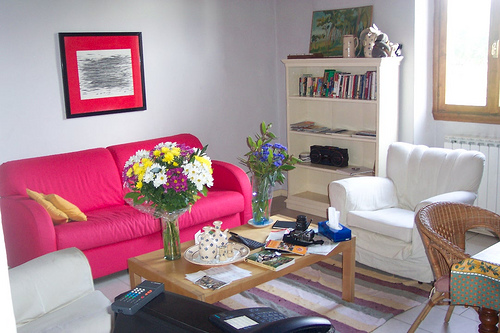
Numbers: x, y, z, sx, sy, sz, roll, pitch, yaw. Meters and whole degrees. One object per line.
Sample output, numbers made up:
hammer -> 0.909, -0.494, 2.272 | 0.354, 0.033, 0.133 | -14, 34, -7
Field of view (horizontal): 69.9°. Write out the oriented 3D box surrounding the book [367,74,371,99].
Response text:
book -> 1.447, -0.975, 4.344 | 0.038, 0.288, 0.038 | -2, 14, 9

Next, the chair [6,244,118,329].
chair -> -1.130, 0.763, 2.133 | 0.479, 0.373, 0.506 | -12, 16, -33

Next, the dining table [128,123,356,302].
dining table -> -0.026, 0.504, 2.771 | 1.705, 1.502, 0.928 | -9, 11, -40

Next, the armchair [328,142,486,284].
armchair -> 1.579, 0.406, 3.595 | 1.108, 1.125, 1.253 | -13, 12, -42

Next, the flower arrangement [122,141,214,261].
flower arrangement -> -0.610, 0.264, 2.616 | 0.516, 0.709, 0.601 | 2, 1, -37

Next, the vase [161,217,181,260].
vase -> -0.580, 0.537, 2.690 | 0.142, 0.291, 0.159 | -8, 20, -35

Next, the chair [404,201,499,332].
chair -> 1.459, 0.706, 2.579 | 0.473, 0.803, 0.855 | 7, 17, 38

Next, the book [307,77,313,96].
book -> 0.820, -1.100, 4.897 | 0.048, 0.189, 0.193 | 0, 9, -7

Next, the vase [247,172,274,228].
vase -> 0.093, 0.299, 3.109 | 0.275, 0.437, 0.257 | -1, 3, -4

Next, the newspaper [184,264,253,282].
newspaper -> -0.217, 0.726, 2.438 | 0.423, 0.031, 0.314 | -8, 9, -41

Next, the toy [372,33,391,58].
toy -> 1.507, -1.379, 4.085 | 0.195, 0.262, 0.102 | 17, 16, 11

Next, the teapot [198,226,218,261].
teapot -> -0.342, 0.530, 2.601 | 0.182, 0.254, 0.174 | 4, -9, -36

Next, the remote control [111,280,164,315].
remote control -> -0.519, 0.606, 1.662 | 0.135, 0.049, 0.229 | 0, 11, 32

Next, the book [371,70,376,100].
book -> 1.486, -0.977, 4.297 | 0.049, 0.321, 0.056 | -2, 14, 9

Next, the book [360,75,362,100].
book -> 1.374, -0.982, 4.412 | 0.019, 0.276, 0.065 | -1, 14, 12
